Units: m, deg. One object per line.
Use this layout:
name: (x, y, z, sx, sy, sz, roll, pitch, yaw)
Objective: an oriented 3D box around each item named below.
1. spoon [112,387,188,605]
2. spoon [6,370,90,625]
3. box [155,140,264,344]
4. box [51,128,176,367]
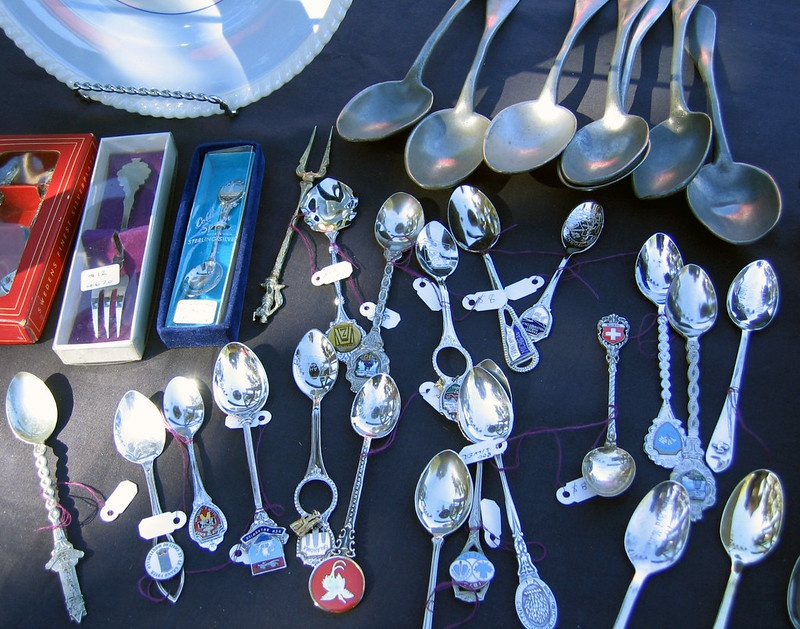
spoon: (-0.465, 0.336, 1.476, 0.091, 0.351, 0.209, -5, 8, -27)
spoon: (-0.661, 0.336, 1.485, 0.090, 0.421, 0.269, -6, 8, -32)
box: (-0.388, -0.157, 1.691, 0.163, 0.079, 0.522, 0, 55, 1)
box: (-0.587, -0.116, 1.637, 0.161, 0.546, 0.084, 2, -22, 0)
